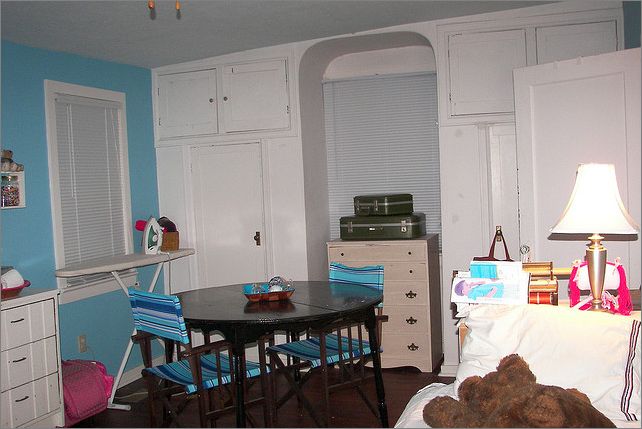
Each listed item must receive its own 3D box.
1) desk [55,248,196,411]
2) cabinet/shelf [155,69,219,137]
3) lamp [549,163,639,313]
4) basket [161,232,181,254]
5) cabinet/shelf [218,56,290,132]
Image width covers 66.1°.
[{"bbox_3d":[-1.896,1.096,4.592,0.469,1.012,1.507,3,6,22],"label":"desk"},{"bbox_3d":[-1.504,-1.276,5.620,0.876,0.718,0.321,0,3,10],"label":"cabinet/shelf"},{"bbox_3d":[1.870,0.135,3.394,0.486,0.957,0.701,-1,0,25],"label":"lamp"},{"bbox_3d":[-1.664,0.314,5.408,0.259,0.229,0.191,1,-2,-42],"label":"basket"},{"bbox_3d":[-0.631,-1.325,5.672,0.964,0.796,0.497,2,10,27],"label":"cabinet/shelf"}]
